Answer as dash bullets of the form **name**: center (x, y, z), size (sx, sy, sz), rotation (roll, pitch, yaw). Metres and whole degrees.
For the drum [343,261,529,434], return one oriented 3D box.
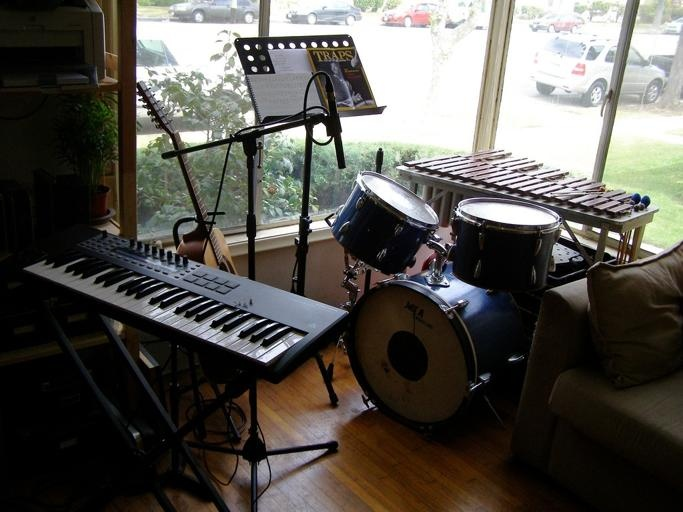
- **drum**: center (0.463, 0.385, 3.012), size (0.763, 0.965, 0.849), rotation (-12, 24, -37)

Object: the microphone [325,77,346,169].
- **microphone**: center (-0.030, -0.527, 2.183), size (0.063, 0.414, 0.067), rotation (-9, 7, 3)

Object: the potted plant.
- **potted plant**: center (-1.096, -0.433, 2.442), size (0.250, 0.522, 0.413), rotation (-10, 25, -25)
